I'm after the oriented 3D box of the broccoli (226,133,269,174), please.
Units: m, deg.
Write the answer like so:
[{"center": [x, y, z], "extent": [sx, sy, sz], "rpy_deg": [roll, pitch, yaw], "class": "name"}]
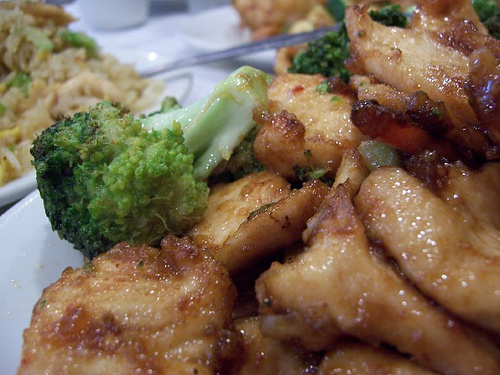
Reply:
[{"center": [-0.009, -0.138, 2.144], "extent": [0.164, 0.064, 0.169], "rpy_deg": [-35, 83, 0], "class": "broccoli"}]
